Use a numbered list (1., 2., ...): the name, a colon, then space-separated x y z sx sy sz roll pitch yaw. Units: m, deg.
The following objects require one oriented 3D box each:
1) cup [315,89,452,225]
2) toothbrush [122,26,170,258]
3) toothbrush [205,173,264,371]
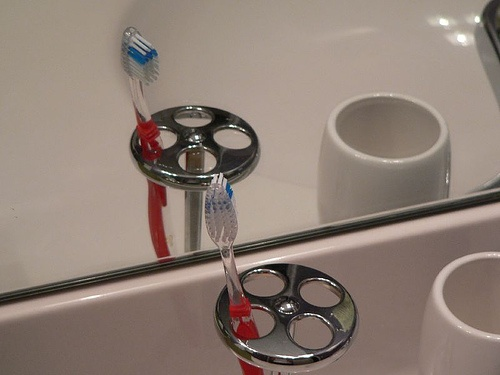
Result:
1. cup: 0.147 -0.024 0.611 0.136 0.145 0.137 -2 41 2
2. toothbrush: -0.107 -0.045 0.499 0.027 0.264 0.034 -8 19 -11
3. toothbrush: -0.005 0.052 0.359 0.022 0.183 0.025 -11 19 -2
